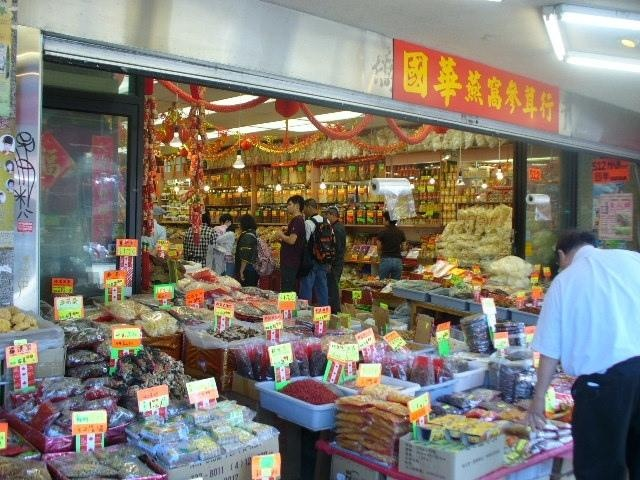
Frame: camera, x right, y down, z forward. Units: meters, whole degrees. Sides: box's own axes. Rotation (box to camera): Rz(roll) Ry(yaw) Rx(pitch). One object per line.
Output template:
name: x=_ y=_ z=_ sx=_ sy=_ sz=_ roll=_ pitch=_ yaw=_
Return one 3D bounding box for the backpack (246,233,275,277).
backpack: x=-0.877 y=0.269 z=8.026 sx=0.315 sy=0.598 sz=0.459 roll=-4 pitch=4 yaw=22

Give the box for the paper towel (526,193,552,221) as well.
paper towel: x=2.765 y=-0.400 z=6.237 sx=0.225 sy=0.286 sz=0.763 roll=-2 pitch=-3 yaw=33

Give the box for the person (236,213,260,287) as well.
person: x=-1.101 y=0.183 z=7.458 sx=0.367 sy=0.988 sz=0.476 roll=-1 pitch=0 yaw=-10

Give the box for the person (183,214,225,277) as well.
person: x=-1.795 y=0.038 z=7.298 sx=0.423 sy=0.805 sz=1.345 roll=-1 pitch=1 yaw=-5

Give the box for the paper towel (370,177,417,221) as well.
paper towel: x=0.967 y=-0.495 z=5.803 sx=0.497 sy=0.481 sz=0.285 roll=-2 pitch=0 yaw=36
